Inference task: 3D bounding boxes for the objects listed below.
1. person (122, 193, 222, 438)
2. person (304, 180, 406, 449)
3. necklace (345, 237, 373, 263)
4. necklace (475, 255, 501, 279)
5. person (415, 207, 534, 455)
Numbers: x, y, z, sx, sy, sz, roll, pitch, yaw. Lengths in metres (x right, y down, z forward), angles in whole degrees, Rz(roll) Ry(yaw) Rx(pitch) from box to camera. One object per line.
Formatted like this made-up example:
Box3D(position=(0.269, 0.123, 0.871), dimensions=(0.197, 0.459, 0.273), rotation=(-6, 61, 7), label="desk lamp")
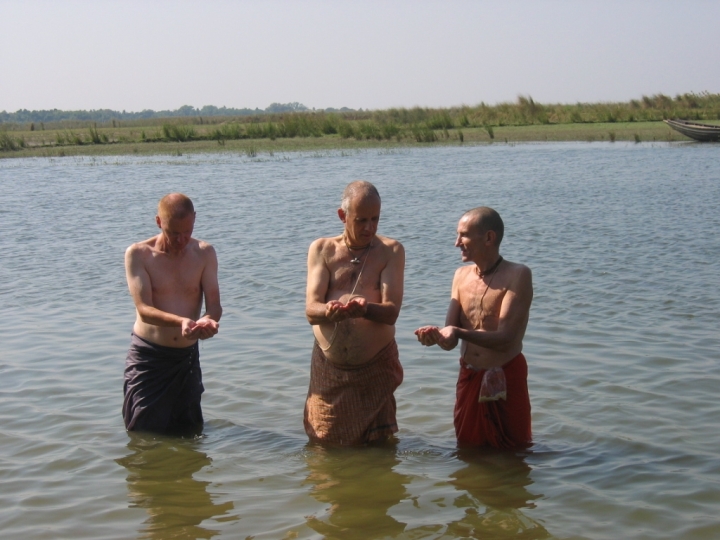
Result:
Box3D(position=(-2.134, 0.537, 10.521), dimensions=(1.206, 2.755, 1.032), rotation=(-5, 13, -8), label="person")
Box3D(position=(-0.098, 0.494, 10.251), dimensions=(1.210, 2.877, 0.896), rotation=(-4, 13, -3), label="person")
Box3D(position=(-0.050, -0.217, 10.328), dimensions=(0.256, 0.270, 0.114), rotation=(4, 11, 1), label="necklace")
Box3D(position=(1.379, -0.033, 10.134), dimensions=(0.245, 0.061, 0.199), rotation=(-27, 20, 23), label="necklace")
Box3D(position=(1.271, 0.646, 10.120), dimensions=(1.042, 2.603, 0.990), rotation=(0, 13, 14), label="person")
